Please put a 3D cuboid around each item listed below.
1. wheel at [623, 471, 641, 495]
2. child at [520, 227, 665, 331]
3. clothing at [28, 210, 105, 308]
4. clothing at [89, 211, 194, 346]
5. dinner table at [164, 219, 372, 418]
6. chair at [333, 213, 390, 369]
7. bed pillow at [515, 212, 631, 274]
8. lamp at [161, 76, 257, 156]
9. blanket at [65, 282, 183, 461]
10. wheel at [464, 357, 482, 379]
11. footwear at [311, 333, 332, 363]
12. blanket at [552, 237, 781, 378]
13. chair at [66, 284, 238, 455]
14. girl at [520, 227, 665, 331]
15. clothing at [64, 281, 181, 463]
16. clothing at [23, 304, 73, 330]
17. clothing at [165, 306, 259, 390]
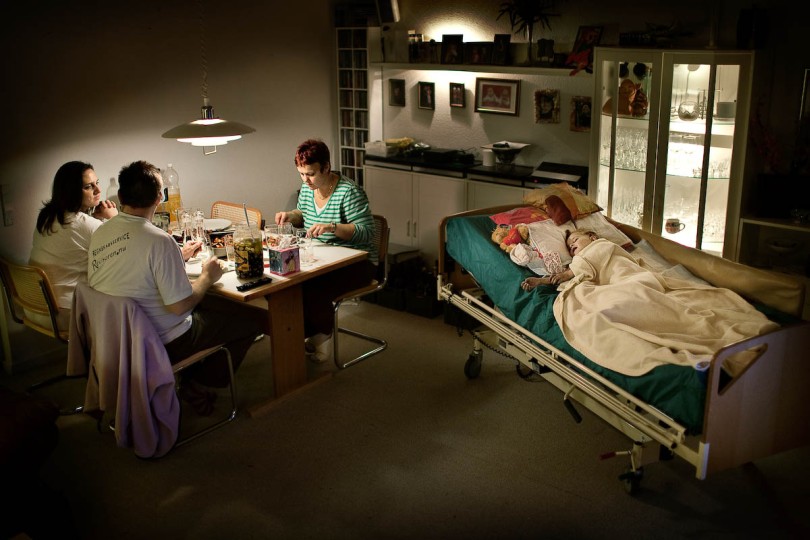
[{"bbox_3d":[1.262,1.173,2.928,0.055,0.097,0.132,8,-15,-6],"label":"wheel"},{"bbox_3d":[1.183,-0.025,3.529,0.634,0.240,0.606,-24,26,-28],"label":"child"},{"bbox_3d":[-2.183,-0.059,3.401,0.556,0.569,0.315,12,9,41],"label":"clothing"},{"bbox_3d":[-1.582,-0.021,3.154,0.740,0.686,0.410,13,22,17],"label":"clothing"},{"bbox_3d":[-0.928,0.387,3.564,0.950,0.870,1.735,-22,33,-35],"label":"dinner table"},{"bbox_3d":[-0.378,0.078,4.337,0.553,0.974,0.548,4,4,6],"label":"chair"},{"bbox_3d":[1.145,-0.232,3.743,0.688,0.188,0.449,-21,39,-18],"label":"bed pillow"},{"bbox_3d":[-1.768,-1.379,4.665,0.749,0.843,0.734,-12,22,-22],"label":"lamp"},{"bbox_3d":[-1.637,0.592,3.116,0.791,0.788,0.369,24,33,34],"label":"blanket"},{"bbox_3d":[0.501,0.717,3.859,0.124,0.126,0.045,27,-4,-42],"label":"wheel"},{"bbox_3d":[-0.677,0.633,4.279,0.185,0.078,0.292,-1,31,-6],"label":"footwear"},{"bbox_3d":[1.368,0.262,3.037,0.745,0.231,0.737,-28,32,-35],"label":"blanket"},{"bbox_3d":[-1.636,0.467,3.530,0.988,1.023,0.943,19,29,35],"label":"chair"},{"bbox_3d":[1.198,-0.023,3.528,0.634,0.240,0.606,-24,26,-28],"label":"girl"},{"bbox_3d":[-1.779,0.566,3.250,0.934,0.929,0.417,20,21,28],"label":"clothing"},{"bbox_3d":[-2.363,0.322,3.535,0.239,0.100,0.269,10,17,33],"label":"clothing"},{"bbox_3d":[-1.123,0.544,3.649,0.719,0.343,0.533,-27,-25,14],"label":"clothing"}]
